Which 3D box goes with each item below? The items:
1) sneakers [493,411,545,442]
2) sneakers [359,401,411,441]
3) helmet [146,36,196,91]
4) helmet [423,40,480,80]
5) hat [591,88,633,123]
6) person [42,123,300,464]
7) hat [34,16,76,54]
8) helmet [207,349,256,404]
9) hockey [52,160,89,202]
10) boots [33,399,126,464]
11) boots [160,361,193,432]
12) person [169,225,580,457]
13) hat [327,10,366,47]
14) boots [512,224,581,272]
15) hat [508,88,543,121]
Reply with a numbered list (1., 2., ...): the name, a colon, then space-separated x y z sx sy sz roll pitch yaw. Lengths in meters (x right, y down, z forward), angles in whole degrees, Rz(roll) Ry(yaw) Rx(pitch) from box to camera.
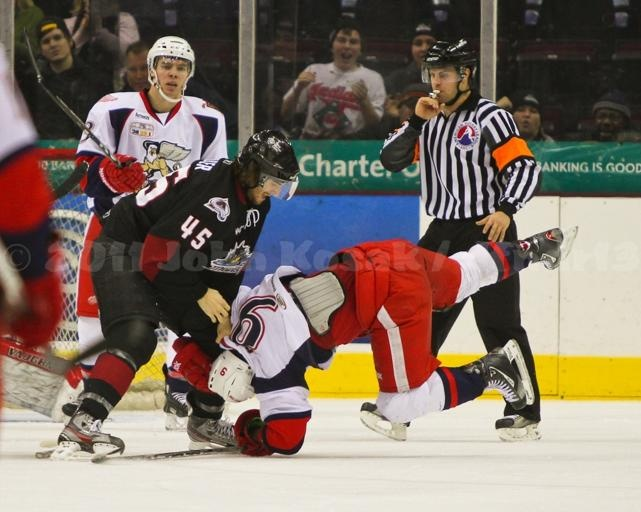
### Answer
1. sneakers: 0.945 0.804 4.161 0.190 0.088 0.106 5 -18 -6
2. sneakers: 0.295 0.803 4.234 0.249 0.107 0.139 23 -4 -4
3. helmet: -0.732 -0.978 4.475 0.222 0.263 0.269 4 -17 -16
4. helmet: 0.636 -0.951 4.385 0.240 0.211 0.189 3 4 -9
5. hat: 1.800 -0.936 5.443 0.162 0.125 0.160 14 14 14
6. person: -0.607 0.154 3.732 0.976 1.283 0.401 1 0 -17
7. hat: -1.631 -1.382 5.525 0.226 0.193 0.166 -7 18 -5
8. helmet: -0.369 0.515 3.831 0.221 0.188 0.170 10 -3 -16
9. hockey: -1.252 -0.345 4.413 0.050 0.101 0.452 -47 6 -31
10. boots: -0.989 0.723 3.549 0.455 0.212 0.134 -1 0 -11
11. boots: -0.727 0.722 4.430 0.156 0.185 0.447 -1 10 -14
12. person: 0.266 0.443 3.825 1.562 0.594 0.790 -12 30 5
13. hat: 0.172 -1.404 5.458 0.149 0.192 0.091 8 11 3
14. boots: 1.067 -0.051 4.394 0.155 0.190 0.458 8 -4 -29
15. hat: 1.260 -0.942 5.420 0.185 0.153 0.137 7 9 -11
